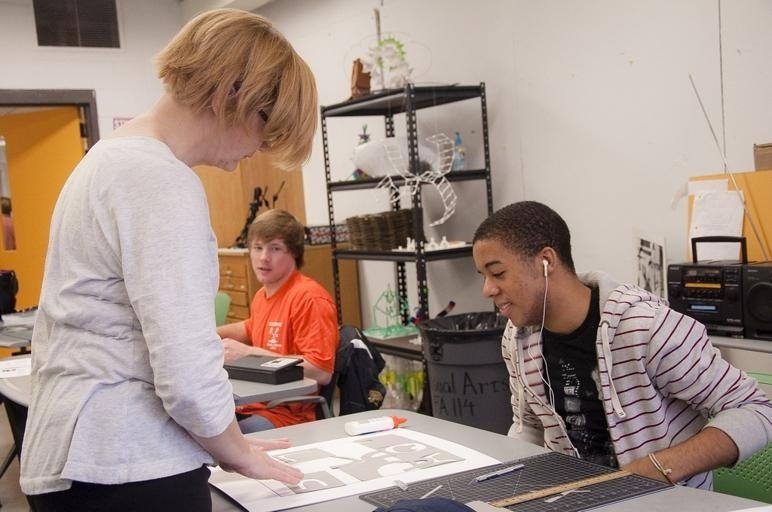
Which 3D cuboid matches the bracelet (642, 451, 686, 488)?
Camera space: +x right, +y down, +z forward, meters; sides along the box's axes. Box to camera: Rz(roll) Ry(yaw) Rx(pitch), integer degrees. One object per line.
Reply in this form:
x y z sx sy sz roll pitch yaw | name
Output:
0.744 0.566 1.480 0.062 0.021 0.077 9 34 -46 | bracelet

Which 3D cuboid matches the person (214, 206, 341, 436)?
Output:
-0.601 0.260 2.753 0.574 1.094 0.493 -4 1 -41 | person

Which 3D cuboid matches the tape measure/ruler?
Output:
0.429 0.555 1.332 0.395 0.009 0.050 -4 5 -23 | tape measure/ruler
